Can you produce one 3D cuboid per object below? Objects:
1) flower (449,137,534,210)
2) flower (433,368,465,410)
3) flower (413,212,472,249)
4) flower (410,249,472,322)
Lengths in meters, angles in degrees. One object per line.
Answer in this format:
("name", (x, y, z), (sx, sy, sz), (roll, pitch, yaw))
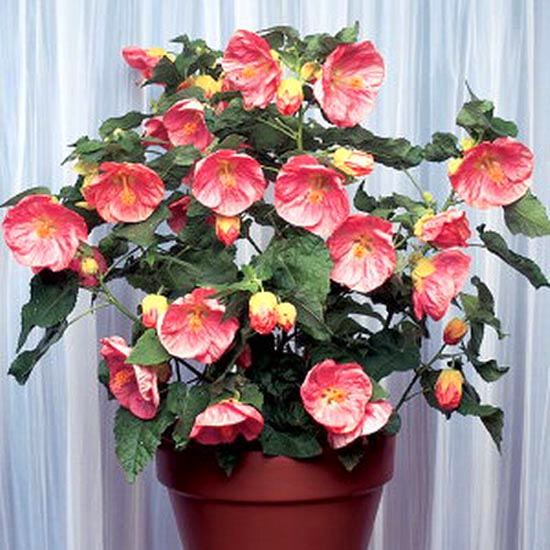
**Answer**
("flower", (0.286, -0.162, 0.857), (0.100, 0.035, 0.094), (19, 5, 34))
("flower", (0.243, 0.166, 0.926), (0.041, 0.056, 0.040), (8, -5, -29))
("flower", (0.210, -0.064, 0.806), (0.064, 0.033, 0.048), (-8, -17, 33))
("flower", (0.214, 0.011, 0.838), (0.099, 0.088, 0.046), (-14, -12, 39))
